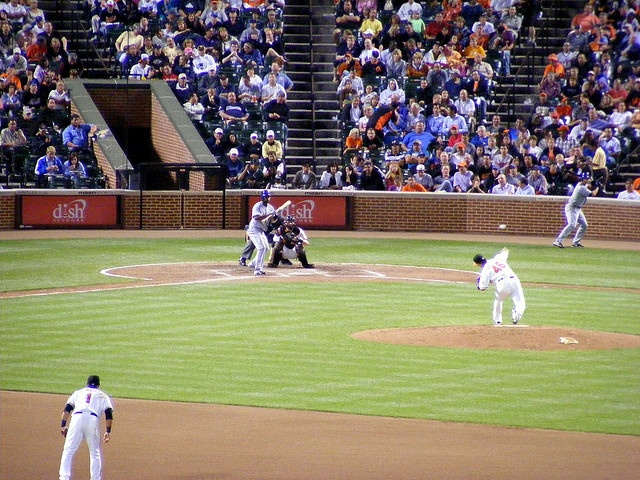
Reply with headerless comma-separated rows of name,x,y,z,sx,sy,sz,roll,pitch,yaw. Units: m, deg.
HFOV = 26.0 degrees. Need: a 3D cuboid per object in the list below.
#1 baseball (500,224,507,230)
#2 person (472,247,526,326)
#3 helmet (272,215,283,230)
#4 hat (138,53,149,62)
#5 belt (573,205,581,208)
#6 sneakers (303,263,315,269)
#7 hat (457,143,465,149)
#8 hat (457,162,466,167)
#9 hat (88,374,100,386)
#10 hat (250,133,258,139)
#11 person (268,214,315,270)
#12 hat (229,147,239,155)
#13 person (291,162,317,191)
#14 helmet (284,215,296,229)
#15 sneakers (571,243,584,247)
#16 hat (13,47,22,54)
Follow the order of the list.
baseball,6.066,-0.408,46.021,0.250,0.128,0.240,-1,2,-3
person,4.472,1.217,34.556,1.240,1.842,0.817,2,10,8
helmet,-1.312,-0.475,40.924,0.324,0.400,0.423,-1,-4,32
hat,-6.595,-6.805,52.482,0.303,0.308,0.304,-6,7,-16
belt,8.325,-1.033,45.001,0.242,0.140,0.132,-1,10,-13
sneakers,-0.300,0.802,41.539,0.371,0.239,0.119,-2,8,1
hat,4.899,-3.226,48.025,0.306,0.166,0.373,1,9,0
hat,4.987,-2.585,48.197,0.260,0.210,0.164,1,9,1
hat,-4.244,2.664,26.186,0.199,0.226,0.230,5,12,-6
hat,-2.303,-3.575,49.148,0.208,0.311,0.156,2,50,1
person,-0.856,0.095,41.352,1.393,1.494,1.123,1,5,-2
hat,-2.995,-3.047,48.932,0.308,0.230,0.552,0,9,-4
person,-0.494,-2.186,48.367,0.853,0.917,0.674,1,10,-1
helmet,-0.859,-0.493,40.750,0.312,0.337,0.354,1,-14,-9
sneakers,8.595,0.210,46.270,0.426,0.164,0.149,-1,8,-20
hat,-10.993,-6.867,50.837,0.258,0.207,0.369,3,-1,-14
